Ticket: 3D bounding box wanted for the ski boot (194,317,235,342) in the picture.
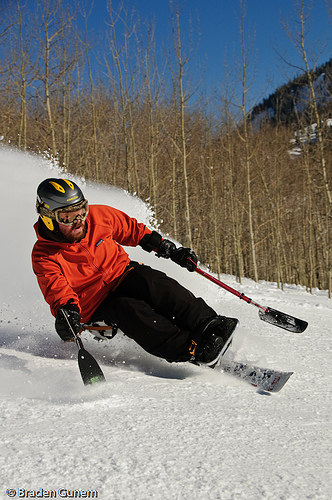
[{"bbox_3d":[0.364,0.543,3.289,0.263,0.128,0.261,-4,9,-29],"label":"ski boot"}]
